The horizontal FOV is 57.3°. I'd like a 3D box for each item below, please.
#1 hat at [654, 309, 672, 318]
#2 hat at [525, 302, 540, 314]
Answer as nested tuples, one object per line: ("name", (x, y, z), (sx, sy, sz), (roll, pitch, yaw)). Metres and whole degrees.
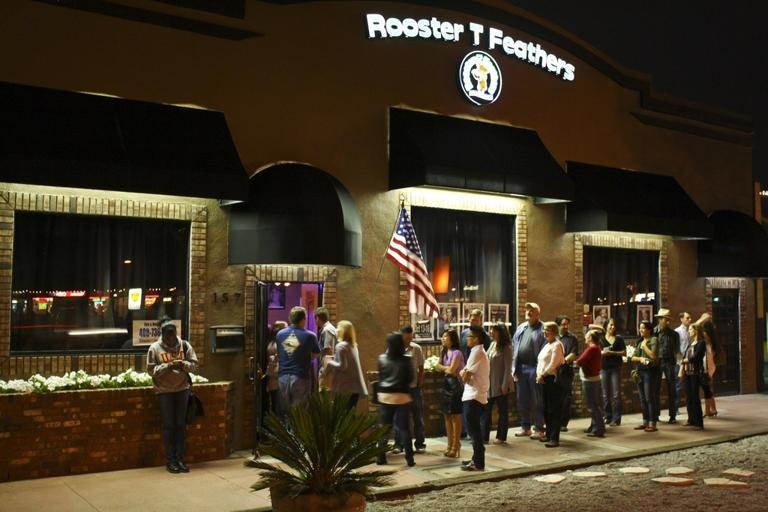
("hat", (7.671, 1.599, 19.490), (0.384, 0.181, 0.450), (-4, -13, 35))
("hat", (3.569, 1.180, 16.753), (0.270, 0.207, 0.410), (8, -17, 41))
